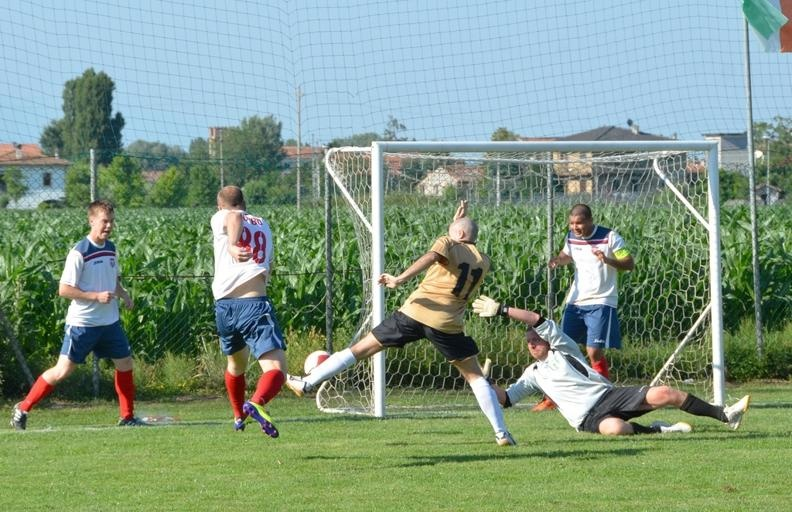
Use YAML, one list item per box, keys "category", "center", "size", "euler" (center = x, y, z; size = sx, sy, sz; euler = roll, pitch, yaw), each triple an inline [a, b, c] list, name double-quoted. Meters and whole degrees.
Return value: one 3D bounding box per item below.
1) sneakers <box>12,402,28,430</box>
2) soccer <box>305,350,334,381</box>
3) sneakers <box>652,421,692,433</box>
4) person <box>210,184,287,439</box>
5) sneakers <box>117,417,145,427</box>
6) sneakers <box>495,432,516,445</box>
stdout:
- category: "sneakers"
  center: [-4.583, 1.993, 13.868]
  size: [0.159, 0.400, 0.125]
  euler: [-18, -11, 41]
- category: "soccer"
  center: [-0.949, 1.323, 13.695]
  size: [0.287, 0.331, 0.307]
  euler: [-2, -1, -3]
- category: "sneakers"
  center: [3.298, 2.085, 13.608]
  size: [0.450, 0.190, 0.217]
  euler: [-4, -22, 8]
- category: "person"
  center: [-1.725, 0.621, 13.225]
  size: [0.742, 3.030, 1.395]
  euler: [-1, -2, -22]
- category: "sneakers"
  center: [-3.304, 2.085, 14.162]
  size: [0.346, 0.171, 0.126]
  euler: [-1, -5, 1]
- category: "sneakers"
  center: [1.242, 2.107, 12.965]
  size: [0.189, 0.217, 0.136]
  euler: [-4, 1, 16]
